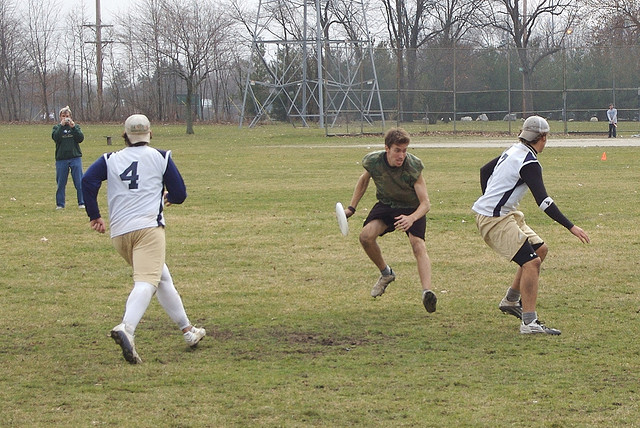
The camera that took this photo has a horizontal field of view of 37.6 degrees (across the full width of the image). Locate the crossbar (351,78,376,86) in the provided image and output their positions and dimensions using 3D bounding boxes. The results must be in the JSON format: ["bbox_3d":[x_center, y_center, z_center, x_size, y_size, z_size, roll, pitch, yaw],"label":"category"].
[{"bbox_3d":[2.588,-7.868,56.610,0.535,0.315,2.570,6,10,29],"label":"crossbar"}]

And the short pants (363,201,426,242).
[{"bbox_3d":[1.197,0.093,14.834,0.991,0.571,0.380,3,8,37],"label":"short pants"}]

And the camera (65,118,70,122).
[{"bbox_3d":[-5.481,-2.030,20.425,0.065,0.062,0.047,0,-1,5],"label":"camera"}]

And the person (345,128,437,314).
[{"bbox_3d":[1.163,0.091,14.800,1.231,2.874,1.541,-2,6,-2],"label":"person"}]
